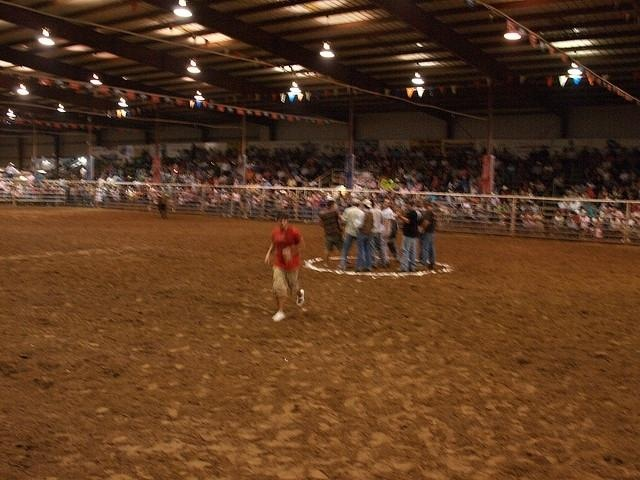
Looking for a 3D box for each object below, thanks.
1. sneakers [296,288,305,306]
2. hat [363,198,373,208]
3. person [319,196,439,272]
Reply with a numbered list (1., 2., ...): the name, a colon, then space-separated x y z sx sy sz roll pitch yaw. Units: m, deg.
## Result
1. sneakers: -0.292 0.858 7.873 0.112 0.274 0.126 11 19 40
2. hat: 0.983 -0.735 11.054 0.182 0.120 0.176 0 4 23
3. person: 1.264 -0.106 11.254 1.680 1.490 1.026 2 10 2
